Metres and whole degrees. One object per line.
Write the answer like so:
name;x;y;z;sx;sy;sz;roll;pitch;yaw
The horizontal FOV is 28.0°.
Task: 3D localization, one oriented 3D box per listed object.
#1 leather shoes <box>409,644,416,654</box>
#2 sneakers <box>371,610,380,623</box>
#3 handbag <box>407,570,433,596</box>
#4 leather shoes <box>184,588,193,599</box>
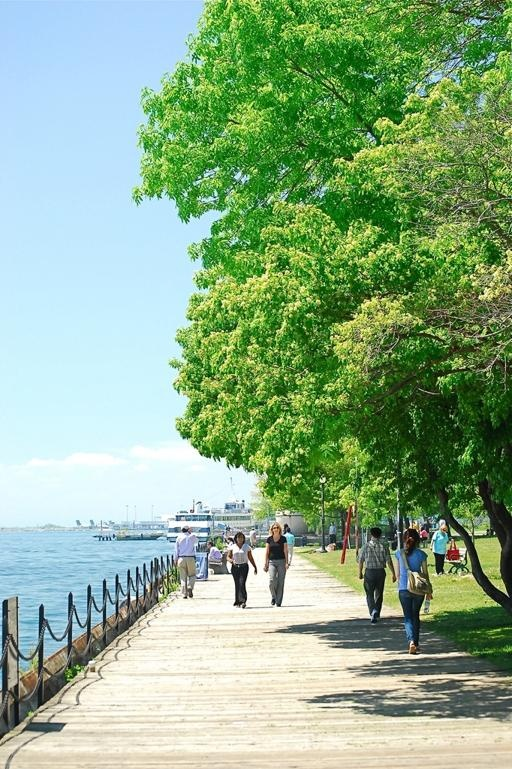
leather shoes;2.141;3.617;14.031;0.071;0.185;0.075;-1;30;2
sneakers;2.129;4.132;18.355;0.092;0.293;0.198;-2;2;2
handbag;2.231;2.726;14.103;0.301;0.361;0.303;-5;-9;12
leather shoes;-1.751;5.418;26.583;0.120;0.403;0.158;-2;7;11
